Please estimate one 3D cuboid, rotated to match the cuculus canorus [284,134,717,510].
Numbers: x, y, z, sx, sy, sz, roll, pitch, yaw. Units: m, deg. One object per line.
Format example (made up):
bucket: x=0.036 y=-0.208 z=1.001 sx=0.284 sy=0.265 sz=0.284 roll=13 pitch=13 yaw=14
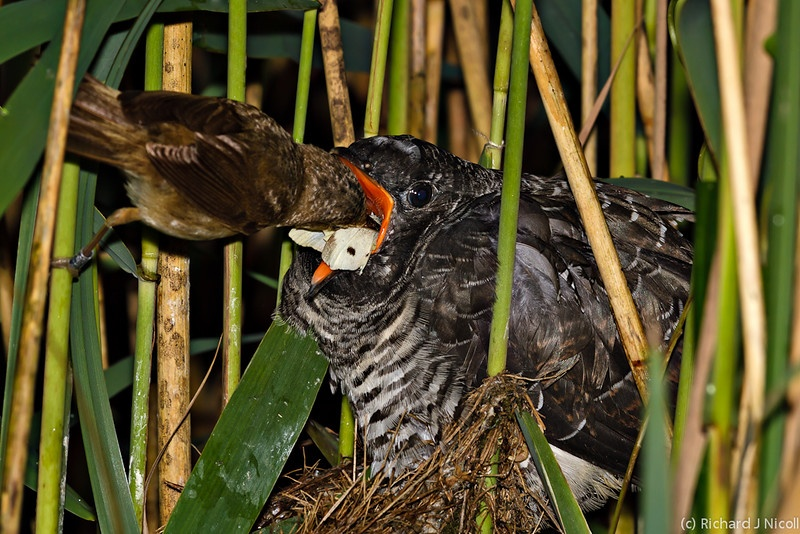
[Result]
cuculus canorus: x=0.296 y=0.111 z=2.609 sx=1.047 sy=0.861 sz=0.854 roll=-7 pitch=5 yaw=-15
